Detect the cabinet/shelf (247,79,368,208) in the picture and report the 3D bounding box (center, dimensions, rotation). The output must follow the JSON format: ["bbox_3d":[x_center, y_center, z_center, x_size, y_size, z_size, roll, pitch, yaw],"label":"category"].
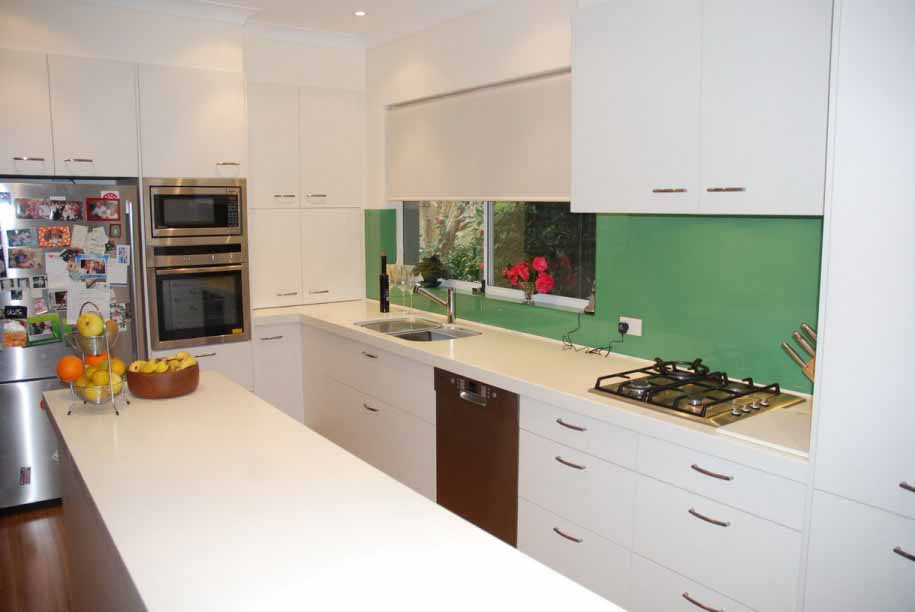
[{"bbox_3d":[-1.249,-1.348,5.014,1.055,1.006,0.582,-5,8,-35],"label":"cabinet/shelf"}]

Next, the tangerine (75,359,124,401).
[{"bbox_3d":[-1.638,0.349,2.848,0.197,0.136,0.200,-6,12,-30],"label":"tangerine"}]

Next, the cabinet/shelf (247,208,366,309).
[{"bbox_3d":[-1.288,-0.413,5.128,0.818,0.696,0.314,-4,7,-29],"label":"cabinet/shelf"}]

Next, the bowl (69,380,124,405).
[{"bbox_3d":[-1.671,0.399,2.893,0.194,0.139,0.168,-6,10,-31],"label":"bowl"}]

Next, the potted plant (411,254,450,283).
[{"bbox_3d":[-0.218,-0.291,4.930,0.253,0.239,0.187,-5,9,-27],"label":"potted plant"}]

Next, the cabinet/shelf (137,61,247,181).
[{"bbox_3d":[-1.897,-1.317,4.357,0.834,0.793,0.446,-5,10,-38],"label":"cabinet/shelf"}]

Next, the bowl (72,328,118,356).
[{"bbox_3d":[-1.693,0.168,2.901,0.174,0.136,0.176,-1,8,0],"label":"bowl"}]

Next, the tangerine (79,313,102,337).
[{"bbox_3d":[-1.677,0.090,2.833,0.077,0.074,0.073,-27,4,6],"label":"tangerine"}]

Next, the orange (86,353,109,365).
[{"bbox_3d":[-1.670,0.248,2.889,0.070,0.066,0.070,0,17,5],"label":"orange"}]

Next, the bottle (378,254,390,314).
[{"bbox_3d":[-0.577,-0.170,4.862,0.070,0.463,0.215,-2,8,-7],"label":"bottle"}]

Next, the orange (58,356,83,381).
[{"bbox_3d":[-1.773,0.297,2.848,0.101,0.117,0.106,-6,10,-32],"label":"orange"}]

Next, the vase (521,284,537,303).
[{"bbox_3d":[0.482,-0.087,4.146,0.112,0.143,0.111,-5,13,-20],"label":"vase"}]

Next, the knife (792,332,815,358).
[{"bbox_3d":[1.524,0.170,2.720,0.031,0.137,0.036,-22,-28,-22],"label":"knife"}]

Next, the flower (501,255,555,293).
[{"bbox_3d":[0.486,-0.231,4.118,0.271,0.190,0.267,-2,7,-30],"label":"flower"}]

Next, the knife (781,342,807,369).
[{"bbox_3d":[1.540,0.221,2.824,0.039,0.029,0.165,-17,51,-13],"label":"knife"}]

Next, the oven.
[{"bbox_3d":[-1.920,-0.266,4.741,0.700,1.215,0.627,-3,-4,-12],"label":"oven"}]
